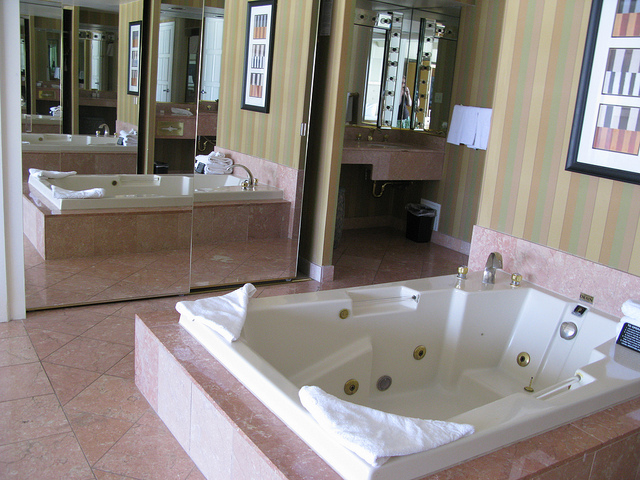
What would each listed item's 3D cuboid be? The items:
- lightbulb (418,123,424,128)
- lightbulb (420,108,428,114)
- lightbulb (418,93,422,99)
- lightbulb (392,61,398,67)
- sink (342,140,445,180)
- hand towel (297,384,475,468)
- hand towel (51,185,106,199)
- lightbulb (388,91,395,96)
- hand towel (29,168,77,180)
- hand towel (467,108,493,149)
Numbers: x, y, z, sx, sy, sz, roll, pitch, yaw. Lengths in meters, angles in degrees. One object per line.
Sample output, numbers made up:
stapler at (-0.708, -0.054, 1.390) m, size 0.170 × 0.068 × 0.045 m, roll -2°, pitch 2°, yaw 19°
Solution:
lightbulb at (1.231, -1.394, 5.965) m, size 0.078 × 0.076 × 0.042 m, roll -9°, pitch 14°, yaw -43°
lightbulb at (1.257, -1.549, 5.911) m, size 0.048 × 0.068 × 0.089 m, roll 1°, pitch 4°, yaw -31°
lightbulb at (1.203, -1.736, 5.890) m, size 0.034 × 0.039 × 0.039 m, roll 18°, pitch 27°, yaw 38°
lightbulb at (0.881, -2.064, 5.746) m, size 0.053 × 0.059 × 0.021 m, roll -2°, pitch 8°, yaw -11°
sink at (0.741, -0.883, 5.521) m, size 1.332 × 0.359 × 0.487 m, roll -6°, pitch 19°, yaw -27°
hand towel at (0.218, 0.628, 1.613) m, size 0.614 × 0.095 × 0.249 m, roll 6°, pitch 17°, yaw 8°
hand towel at (-1.670, -0.336, 3.383) m, size 0.339 × 0.100 × 0.041 m, roll -10°, pitch 21°, yaw -37°
lightbulb at (0.855, -1.747, 5.835) m, size 0.079 × 0.053 × 0.018 m, roll -7°, pitch 20°, yaw -30°
hand towel at (-1.787, -0.450, 3.266) m, size 0.018 × 0.077 × 0.288 m, roll 17°, pitch 22°, yaw 38°
hand towel at (1.625, -1.107, 4.876) m, size 0.186 × 0.396 × 0.182 m, roll 19°, pitch 23°, yaw 42°
